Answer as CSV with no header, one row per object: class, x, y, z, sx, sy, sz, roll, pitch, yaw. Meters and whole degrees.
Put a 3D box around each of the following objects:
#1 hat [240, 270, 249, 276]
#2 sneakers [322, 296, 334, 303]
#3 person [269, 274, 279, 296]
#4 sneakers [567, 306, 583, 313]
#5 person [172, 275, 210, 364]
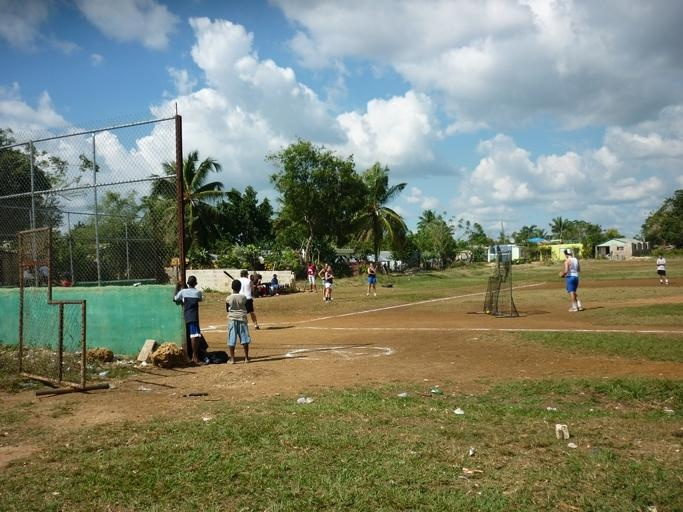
hat,-2.774,0.478,16.956,0.147,0.184,0.180,6,20,2
sneakers,-0.656,2.031,28.027,0.193,0.251,0.586,-2,-7,-38
person,-3.888,1.662,34.655,0.505,0.980,0.909,-2,5,-7
sneakers,7.590,1.741,19.585,0.211,0.233,0.498,0,3,0
person,-3.405,1.404,13.503,0.677,1.934,0.548,-2,5,-15
